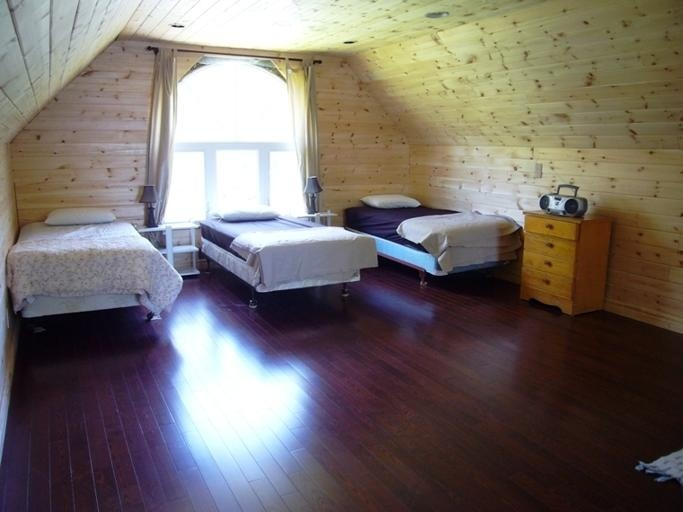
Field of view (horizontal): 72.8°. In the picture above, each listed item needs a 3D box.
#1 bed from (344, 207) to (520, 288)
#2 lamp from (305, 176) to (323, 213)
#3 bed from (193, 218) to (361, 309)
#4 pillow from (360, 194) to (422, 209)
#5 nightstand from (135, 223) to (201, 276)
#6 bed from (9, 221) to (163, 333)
[{"bbox_3d":[0.907,-0.254,5.517,1.033,0.431,1.565,-8,15,-29],"label":"bed"},{"bbox_3d":[-0.361,-0.826,6.165,0.219,0.506,0.322,0,12,-4],"label":"lamp"},{"bbox_3d":[-0.935,-0.107,4.909,1.033,0.456,1.509,-9,19,-31],"label":"bed"},{"bbox_3d":[0.705,-0.756,6.398,0.820,0.172,0.377,1,10,1],"label":"pillow"},{"bbox_3d":[-1.932,-0.144,5.536,0.927,0.757,0.625,-4,7,-33],"label":"nightstand"},{"bbox_3d":[-2.275,0.183,4.157,1.224,0.736,1.209,-7,13,-36],"label":"bed"}]
